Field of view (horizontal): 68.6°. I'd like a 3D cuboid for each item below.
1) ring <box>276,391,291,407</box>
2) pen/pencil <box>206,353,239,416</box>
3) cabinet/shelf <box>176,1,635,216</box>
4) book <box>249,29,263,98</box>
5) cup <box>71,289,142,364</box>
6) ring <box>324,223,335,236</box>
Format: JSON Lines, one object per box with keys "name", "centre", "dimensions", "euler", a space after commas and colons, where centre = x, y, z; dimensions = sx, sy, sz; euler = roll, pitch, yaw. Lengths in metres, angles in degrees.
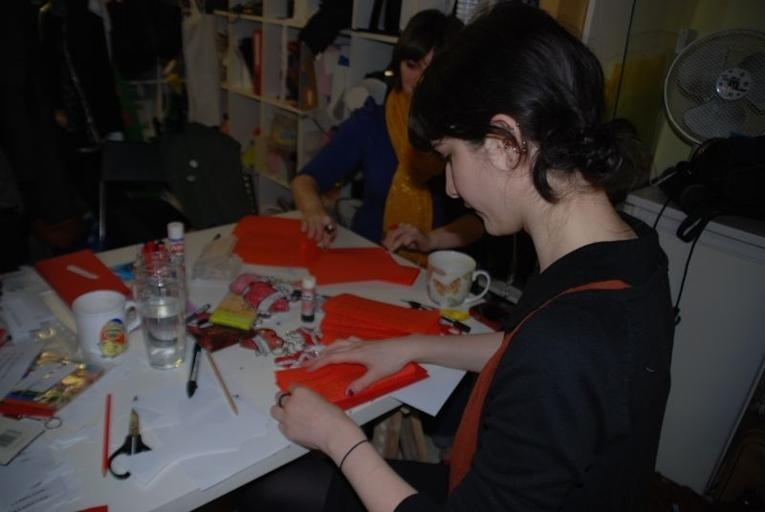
{"name": "ring", "centre": [-0.268, 0.371, 1.460], "dimensions": [0.040, 0.015, 0.030], "euler": [-53, 34, -14]}
{"name": "pen/pencil", "centre": [-0.434, 0.349, 1.489], "dimensions": [0.015, 0.015, 0.211], "euler": [-31, 40, -4]}
{"name": "cabinet/shelf", "centre": [0.070, -0.498, 2.253], "dimensions": [1.751, 1.212, 0.429], "euler": [1, 15, 0]}
{"name": "book", "centre": [-0.867, -1.311, 3.816], "dimensions": [0.075, 0.331, 0.322], "euler": [0, 13, -7]}
{"name": "cup", "centre": [-0.771, 0.181, 1.628], "dimensions": [0.139, 0.202, 0.220], "euler": [18, 18, 36]}
{"name": "ring", "centre": [-0.198, -0.097, 2.060], "dimensions": [0.031, 0.019, 0.041], "euler": [-31, 33, -14]}
